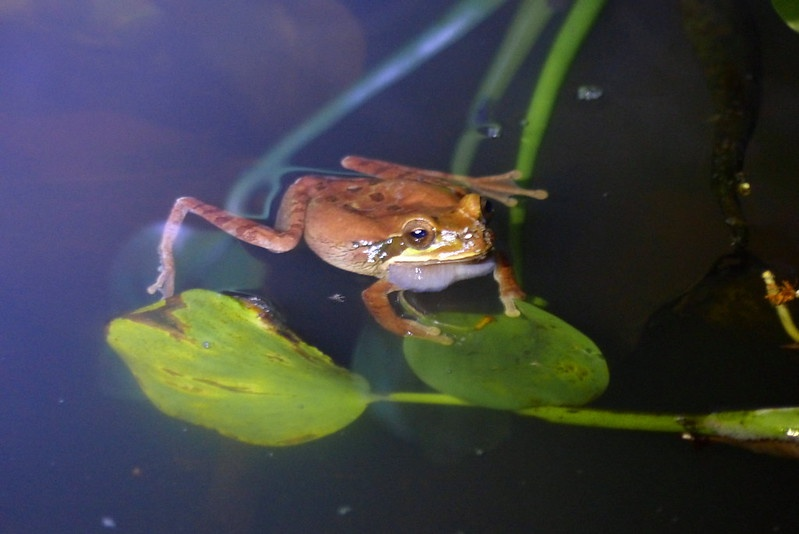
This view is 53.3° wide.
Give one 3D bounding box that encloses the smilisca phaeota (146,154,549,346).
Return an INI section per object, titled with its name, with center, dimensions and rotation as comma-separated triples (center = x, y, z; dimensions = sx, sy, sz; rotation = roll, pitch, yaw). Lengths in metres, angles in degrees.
[smilisca phaeota]
center = -0.133, -0.089, 2.187
dimensions = 1.022, 0.098, 0.506
rotation = 9, 80, 4
